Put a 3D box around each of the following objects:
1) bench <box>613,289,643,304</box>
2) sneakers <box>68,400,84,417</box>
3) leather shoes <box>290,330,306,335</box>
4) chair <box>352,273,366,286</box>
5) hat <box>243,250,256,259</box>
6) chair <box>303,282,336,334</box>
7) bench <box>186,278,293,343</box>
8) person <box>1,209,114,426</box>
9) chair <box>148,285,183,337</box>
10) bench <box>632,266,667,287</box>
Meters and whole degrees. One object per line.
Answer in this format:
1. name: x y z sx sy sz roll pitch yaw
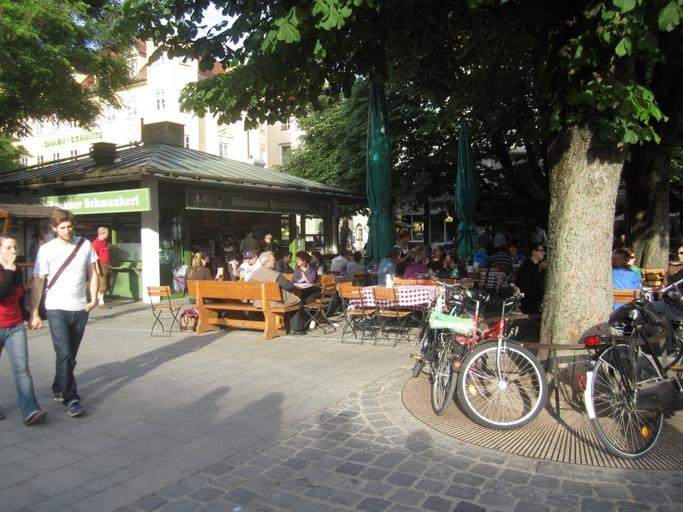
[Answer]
1. bench: 4.391 0.620 8.465 0.445 0.237 0.634 -2 -5 10
2. sneakers: -3.102 1.764 6.415 0.108 0.129 0.277 1 -6 -34
3. leather shoes: -0.862 1.500 10.856 0.311 0.093 0.117 5 -6 -17
4. chair: 0.368 0.507 12.315 0.317 0.251 0.316 1 3 -36
5. hat: -2.508 -0.062 15.005 0.350 0.235 0.466 2 -4 -19
6. chair: -0.461 1.041 11.619 0.811 1.300 0.838 1 2 19
7. bench: -2.028 1.020 11.097 2.107 1.075 0.906 1 0 25
8. person: -3.402 0.638 6.498 0.997 2.400 0.738 -4 7 -26
9. chair: -3.804 1.179 11.907 0.689 1.055 0.718 -2 -1 25
10. bench: 6.352 0.423 11.338 0.292 0.423 0.368 7 18 33
